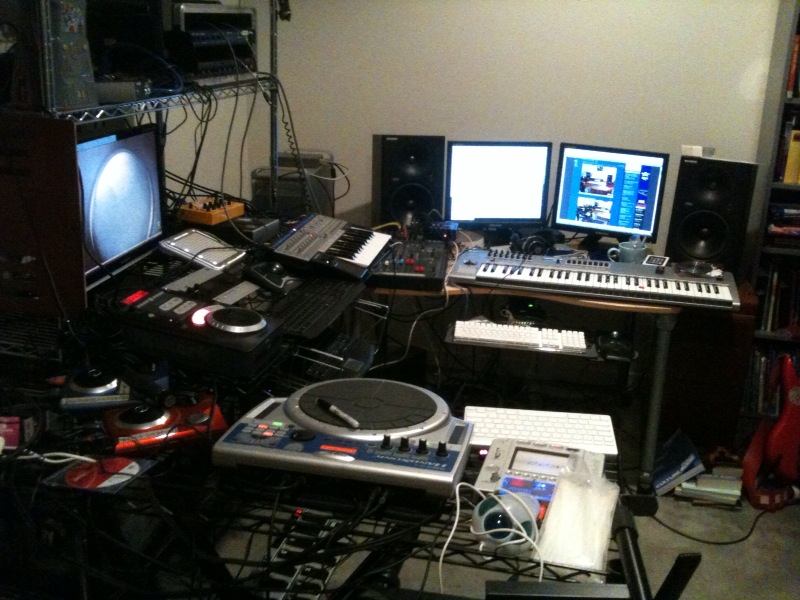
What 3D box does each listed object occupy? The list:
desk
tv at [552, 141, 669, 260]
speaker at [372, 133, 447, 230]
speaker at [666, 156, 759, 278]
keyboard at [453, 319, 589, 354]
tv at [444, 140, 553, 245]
[{"bbox_3d":[0.643,0.297,3.054,1.086,0.915,0.709,4,19,7],"label":"desk"},{"bbox_3d":[0.988,-0.504,3.064,0.585,0.430,0.071,4,7,-16],"label":"tv"},{"bbox_3d":[0.062,-0.592,3.174,0.320,0.435,0.134,3,19,3],"label":"speaker"},{"bbox_3d":[1.462,-0.392,2.961,0.381,0.490,0.330,10,22,25],"label":"speaker"},{"bbox_3d":[0.500,0.149,2.667,0.568,0.081,0.201,3,18,4],"label":"keyboard"},{"bbox_3d":[0.477,-0.542,3.169,0.623,0.499,0.203,0,18,-2],"label":"tv"}]
